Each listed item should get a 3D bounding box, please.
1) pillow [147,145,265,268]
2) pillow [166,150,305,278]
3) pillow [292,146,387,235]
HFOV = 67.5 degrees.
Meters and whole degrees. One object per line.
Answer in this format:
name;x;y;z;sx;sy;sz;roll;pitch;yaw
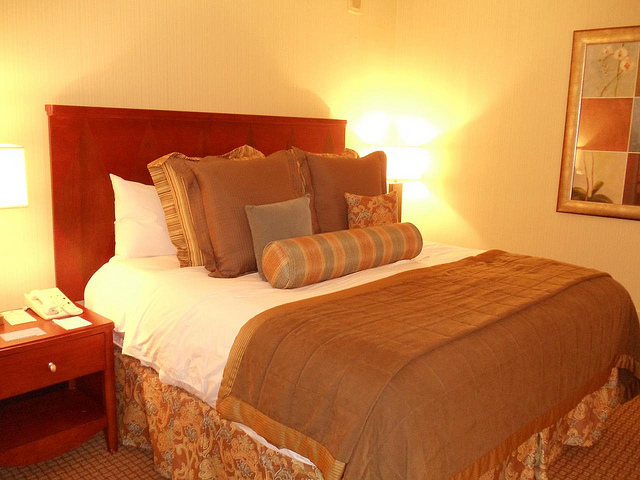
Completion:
pillow;-0.762;-0.259;3.054;0.450;0.796;0.733;13;14;39
pillow;-0.510;-0.216;2.956;0.397;0.762;0.789;12;12;42
pillow;0.134;-0.325;3.367;0.620;0.546;0.211;-8;7;-37
